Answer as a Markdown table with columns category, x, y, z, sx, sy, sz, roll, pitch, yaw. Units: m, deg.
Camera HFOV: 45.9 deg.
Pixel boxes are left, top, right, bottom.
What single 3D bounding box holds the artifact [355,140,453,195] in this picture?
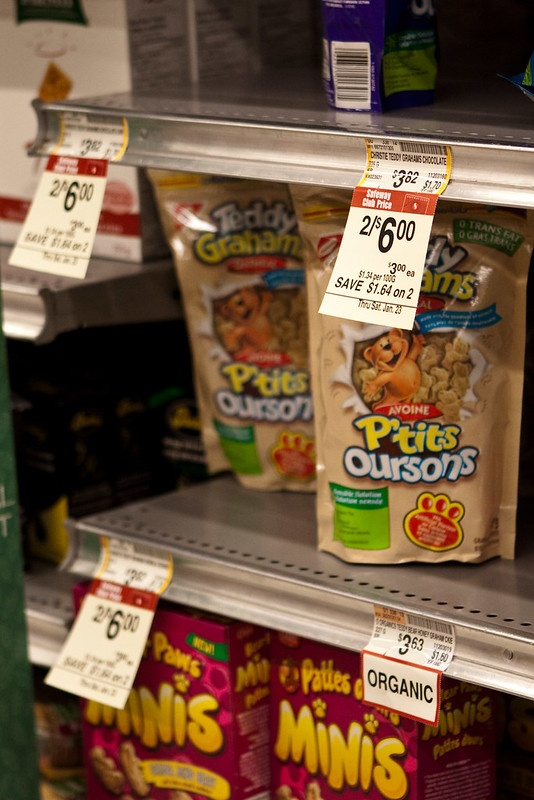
| category | x | y | z | sx | sy | sz | roll | pitch | yaw |
| --- | --- | --- | --- | --- | --- | --- | --- | --- | --- |
| artifact | 0.094 | -0.168 | 0.453 | 0.029 | 0.028 | 0.086 | -28 | 38 | -28 |

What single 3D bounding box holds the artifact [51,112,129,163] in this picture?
| category | x | y | z | sx | sy | sz | roll | pitch | yaw |
| --- | --- | --- | --- | --- | --- | --- | --- | --- | --- |
| artifact | -0.200 | -0.291 | 0.696 | 0.136 | 0.041 | 0.038 | 23 | 44 | 38 |
